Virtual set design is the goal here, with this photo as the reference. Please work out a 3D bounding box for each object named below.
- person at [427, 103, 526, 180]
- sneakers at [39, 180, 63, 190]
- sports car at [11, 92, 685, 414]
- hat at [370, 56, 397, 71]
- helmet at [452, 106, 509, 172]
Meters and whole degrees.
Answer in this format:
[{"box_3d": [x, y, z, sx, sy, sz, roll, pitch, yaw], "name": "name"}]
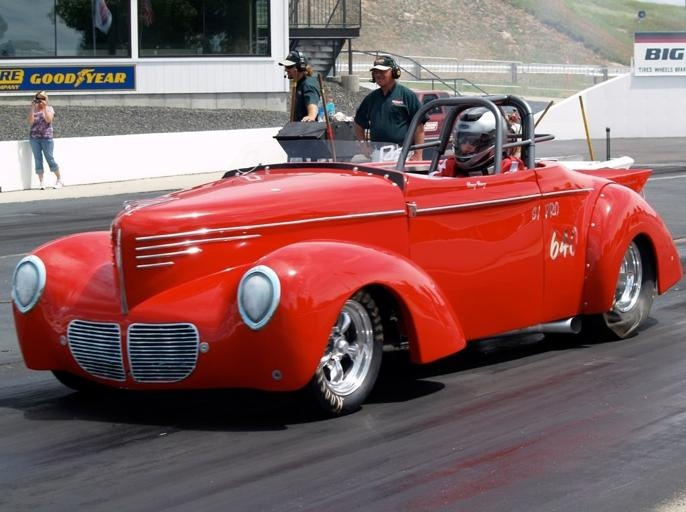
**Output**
[{"box_3d": [1.268, -0.941, 5.703, 0.736, 0.619, 0.520, -1, 2, -37], "name": "person"}, {"box_3d": [-7.821, -1.914, 18.236, 0.632, 0.242, 0.234, -3, 0, 25], "name": "sneakers"}, {"box_3d": [0.149, -0.166, 5.135, 4.580, 2.116, 1.858, -6, 10, -34], "name": "sports car"}, {"box_3d": [0.480, -2.286, 7.979, 0.233, 0.126, 0.354, -3, 0, 22], "name": "hat"}, {"box_3d": [1.143, -0.997, 5.630, 0.570, 0.482, 0.416, -21, 27, -41], "name": "helmet"}]
